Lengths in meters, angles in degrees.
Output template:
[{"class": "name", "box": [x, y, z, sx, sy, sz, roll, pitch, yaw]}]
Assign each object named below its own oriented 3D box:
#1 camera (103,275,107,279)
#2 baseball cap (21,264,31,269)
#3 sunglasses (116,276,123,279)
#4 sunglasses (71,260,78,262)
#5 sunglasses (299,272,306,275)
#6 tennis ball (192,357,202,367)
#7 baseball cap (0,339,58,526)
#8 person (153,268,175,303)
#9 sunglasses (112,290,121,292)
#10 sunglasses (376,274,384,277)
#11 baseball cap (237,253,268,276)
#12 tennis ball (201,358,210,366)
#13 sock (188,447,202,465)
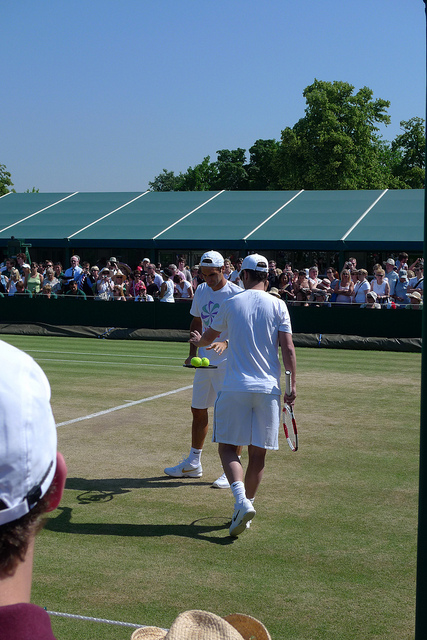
[{"class": "camera", "box": [-2.238, -0.896, 20.588, 0.061, 0.079, 0.090, 0, 4, -14]}, {"class": "baseball cap", "box": [-4.336, -1.230, 22.757, 0.281, 0.128, 0.408, 4, 3, -8]}, {"class": "sunglasses", "box": [-1.957, -0.890, 20.761, 0.063, 0.054, 0.153, 4, 5, 40]}, {"class": "sunglasses", "box": [-3.083, -1.309, 21.930, 0.110, 0.026, 0.112, 0, -1, -34]}, {"class": "sunglasses", "box": [1.696, -0.876, 18.629, 0.127, 0.031, 0.122, 4, 0, -1]}, {"class": "tennis ball", "box": [-0.097, 0.261, 6.115, 0.054, 0.061, 0.053, -6, 0, 0]}, {"class": "baseball cap", "box": [-0.381, 0.233, 2.029, 0.106, 0.366, 0.110, 0, 4, -8]}, {"class": "person", "box": [-1.001, -0.674, 20.051, 0.321, 0.244, 0.751, -9, 26, 10]}, {"class": "sunglasses", "box": [-1.989, -0.594, 20.283, 0.021, 0.043, 0.195, -3, 5, -42]}, {"class": "sunglasses", "box": [3.014, -0.797, 17.824, 0.132, 0.047, 0.111, 2, 4, 18]}, {"class": "baseball cap", "box": [0.240, -0.333, 5.938, 0.143, 0.105, 0.224, 8, -4, -21]}, {"class": "tennis ball", "box": [-0.053, 0.264, 6.165, 0.041, 0.041, 0.049, 3, -1, 26]}, {"class": "sock", "box": [-0.133, 0.972, 7.028, 0.070, 0.124, 0.129, 7, 27, -9]}]
